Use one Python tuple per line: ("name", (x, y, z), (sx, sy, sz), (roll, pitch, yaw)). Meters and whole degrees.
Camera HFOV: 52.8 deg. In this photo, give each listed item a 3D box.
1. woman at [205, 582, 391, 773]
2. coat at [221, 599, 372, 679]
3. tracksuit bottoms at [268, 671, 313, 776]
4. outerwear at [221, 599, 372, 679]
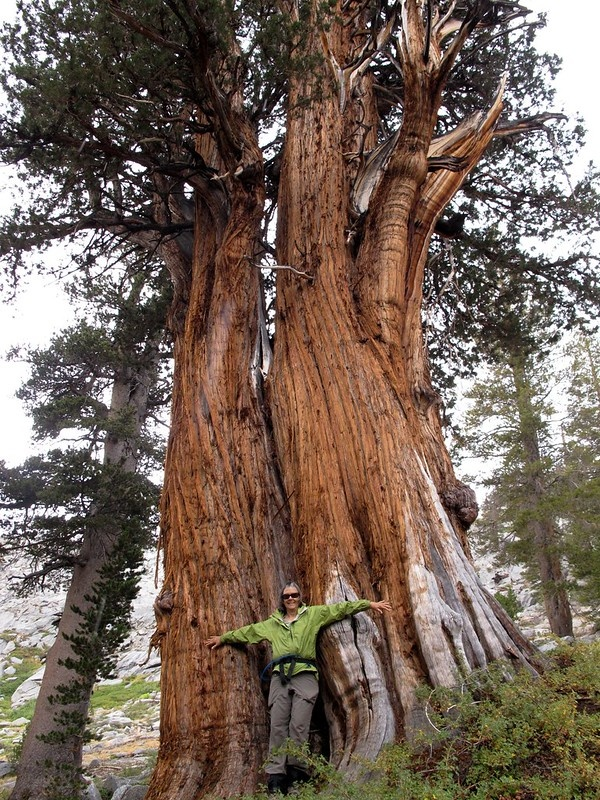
("woman", (-0.053, 1.893, 4.072), (1.287, 1.433, 0.355), (-8, -57, 4))
("coat", (-0.040, 1.709, 4.221), (1.137, 0.642, 0.318), (-14, -41, 14))
("tracksuit bottoms", (-0.064, 2.119, 4.047), (0.293, 0.946, 0.271), (2, 3, 7))
("outerwear", (-0.016, 1.705, 4.210), (1.158, 0.627, 0.298), (-13, -41, 12))
